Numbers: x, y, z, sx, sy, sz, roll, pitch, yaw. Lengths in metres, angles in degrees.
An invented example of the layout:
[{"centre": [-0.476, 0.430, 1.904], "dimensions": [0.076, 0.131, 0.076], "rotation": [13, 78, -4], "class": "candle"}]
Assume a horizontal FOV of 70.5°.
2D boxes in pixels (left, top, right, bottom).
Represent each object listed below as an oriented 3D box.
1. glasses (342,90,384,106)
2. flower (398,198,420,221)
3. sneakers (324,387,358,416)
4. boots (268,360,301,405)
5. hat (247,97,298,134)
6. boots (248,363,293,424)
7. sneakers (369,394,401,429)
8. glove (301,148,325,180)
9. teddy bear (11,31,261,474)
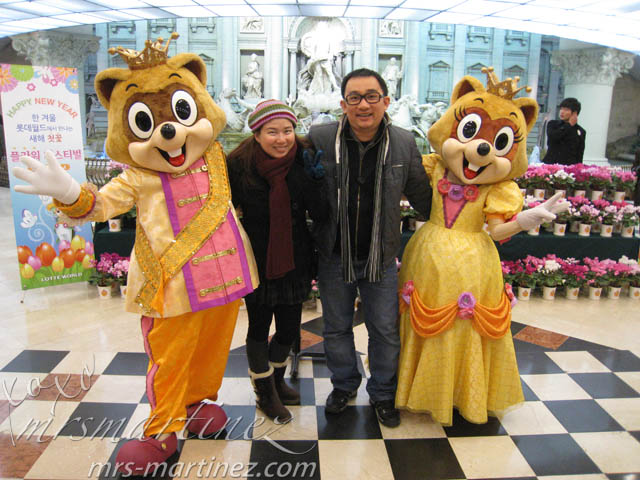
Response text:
[{"centre": [0.220, -0.728, 2.337], "dimensions": [0.197, 0.062, 0.067], "rotation": [-1, 14, 3], "class": "glasses"}, {"centre": [0.886, -0.284, 4.532], "dimensions": [0.308, 0.137, 0.301], "rotation": [-1, 7, 2], "class": "flower"}, {"centre": [0.105, 0.942, 2.609], "dimensions": [0.081, 0.097, 0.228], "rotation": [-1, -7, 19], "class": "sneakers"}, {"centre": [-0.213, 0.863, 2.705], "dimensions": [0.237, 0.222, 0.107], "rotation": [0, 3, 40], "class": "boots"}, {"centre": [-0.248, -0.638, 2.325], "dimensions": [0.185, 0.138, 0.194], "rotation": [-6, 17, -3], "class": "hat"}, {"centre": [-0.277, 0.881, 2.578], "dimensions": [0.138, 0.243, 0.364], "rotation": [-10, 7, -33], "class": "boots"}, {"centre": [0.373, 0.976, 2.576], "dimensions": [0.080, 0.089, 0.209], "rotation": [-2, 6, -16], "class": "sneakers"}, {"centre": [-0.039, -0.390, 2.310], "dimensions": [0.095, 0.142, 0.184], "rotation": [-5, 14, -9], "class": "glove"}, {"centre": [-0.787, 0.075, 2.242], "dimensions": [0.889, 2.059, 0.519], "rotation": [-10, 16, -28], "class": "teddy bear"}]
